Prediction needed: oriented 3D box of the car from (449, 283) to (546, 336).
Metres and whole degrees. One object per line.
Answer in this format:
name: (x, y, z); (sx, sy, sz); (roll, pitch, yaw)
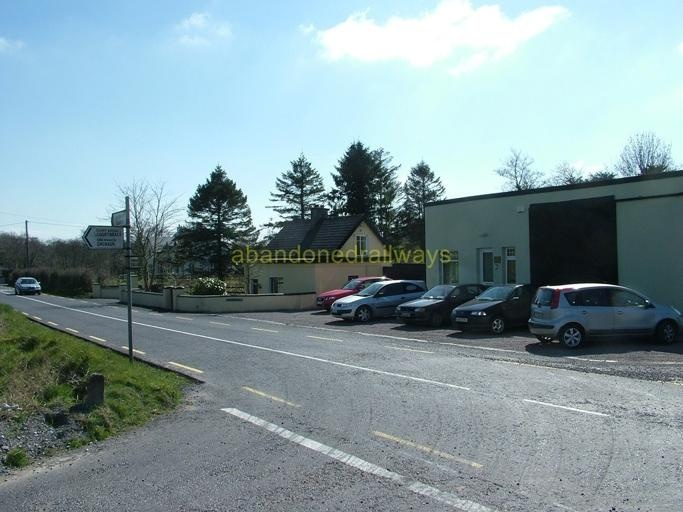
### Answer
car: (5.183, 1.803, 19.145); (2.593, 1.313, 1.418); (4, -6, -37)

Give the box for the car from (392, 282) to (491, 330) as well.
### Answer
car: (3.503, 1.759, 21.126); (3.262, 1.246, 1.498); (1, -4, -41)

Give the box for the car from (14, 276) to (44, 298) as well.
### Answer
car: (-28.202, 2.795, 51.383); (2.506, 1.317, 1.576); (5, 9, 45)
